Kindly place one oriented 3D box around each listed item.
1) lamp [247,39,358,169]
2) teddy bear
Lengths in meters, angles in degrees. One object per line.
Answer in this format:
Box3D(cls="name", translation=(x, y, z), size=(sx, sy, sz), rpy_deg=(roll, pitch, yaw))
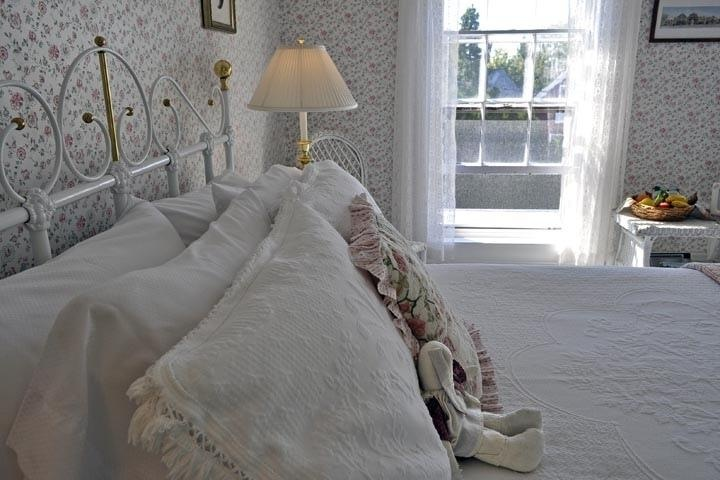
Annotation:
Box3D(cls="lamp", translation=(-0.343, -0.747, 2.913), size=(0.562, 0.971, 0.592), rpy_deg=(4, 21, 9))
Box3D(cls="teddy bear", translation=(0.351, 0.444, 1.529), size=(0.351, 0.486, 0.306), rpy_deg=(-8, 18, 14))
